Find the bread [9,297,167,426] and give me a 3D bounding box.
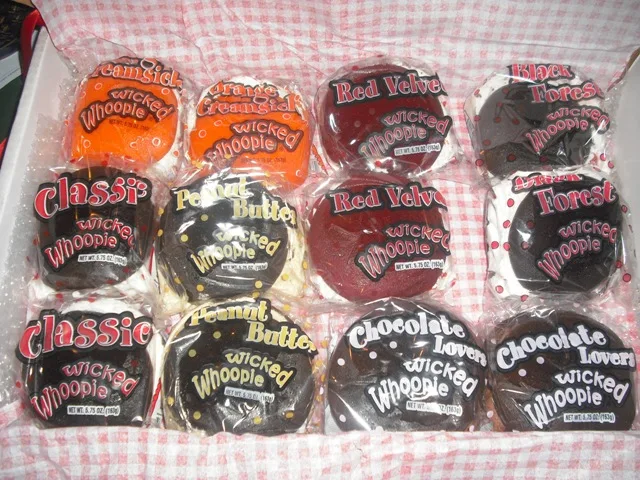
[{"bbox_3d":[-1.196,0.624,3.089,0.739,0.357,0.550,1,44,-2],"label":"bread"}]
